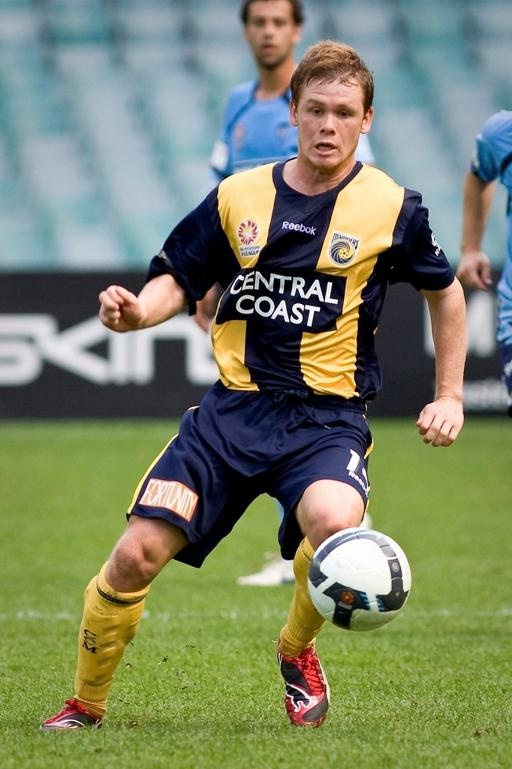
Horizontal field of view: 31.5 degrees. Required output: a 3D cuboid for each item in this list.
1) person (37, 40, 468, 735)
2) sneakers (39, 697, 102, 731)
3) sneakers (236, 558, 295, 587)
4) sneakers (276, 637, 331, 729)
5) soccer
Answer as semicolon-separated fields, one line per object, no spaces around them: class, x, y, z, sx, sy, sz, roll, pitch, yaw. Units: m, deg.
person;0.040;0.117;2.321;0.955;1.439;0.701;1;8;10
sneakers;-0.447;0.798;2.208;0.155;0.060;0.056;3;-4;-21
sneakers;0.099;0.881;4.273;0.363;0.123;0.118;-3;-2;16
sneakers;0.131;0.768;2.346;0.082;0.095;0.224;-15;32;-1
soccer;0.233;0.455;2.083;0.229;0.255;0.165;1;8;3
